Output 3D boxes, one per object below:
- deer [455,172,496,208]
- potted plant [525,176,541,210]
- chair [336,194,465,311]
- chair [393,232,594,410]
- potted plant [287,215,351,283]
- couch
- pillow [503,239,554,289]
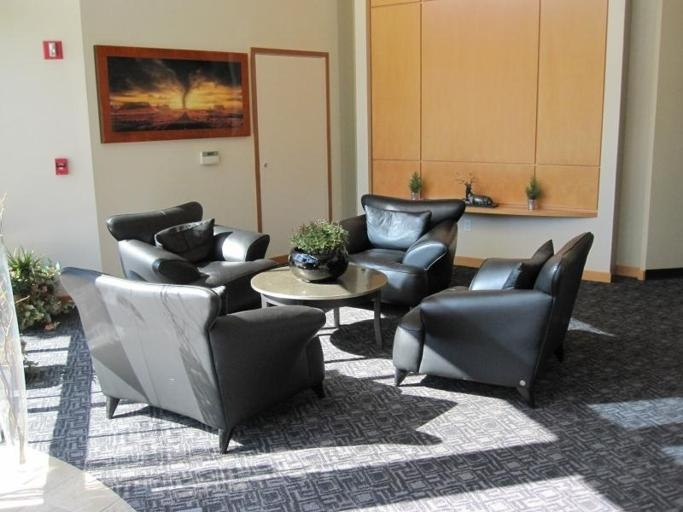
[{"bbox_3d":[1.850,-0.820,6.536,0.476,0.301,0.207,12,21,42],"label":"deer"},{"bbox_3d":[2.449,-0.789,6.269,0.185,0.412,0.220,1,16,19],"label":"potted plant"},{"bbox_3d":[0.629,-0.176,5.298,1.513,1.043,1.333,5,14,35],"label":"chair"},{"bbox_3d":[1.092,0.466,3.948,1.473,1.022,1.380,4,13,30],"label":"chair"},{"bbox_3d":[-0.183,-0.065,4.367,0.626,0.457,0.546,0,3,-2],"label":"potted plant"},{"bbox_3d":[-0.895,0.550,3.487,1.834,1.027,1.276,5,10,31],"label":"couch"},{"bbox_3d":[1.578,0.054,4.134,0.249,0.190,0.510,-10,7,31],"label":"pillow"}]
